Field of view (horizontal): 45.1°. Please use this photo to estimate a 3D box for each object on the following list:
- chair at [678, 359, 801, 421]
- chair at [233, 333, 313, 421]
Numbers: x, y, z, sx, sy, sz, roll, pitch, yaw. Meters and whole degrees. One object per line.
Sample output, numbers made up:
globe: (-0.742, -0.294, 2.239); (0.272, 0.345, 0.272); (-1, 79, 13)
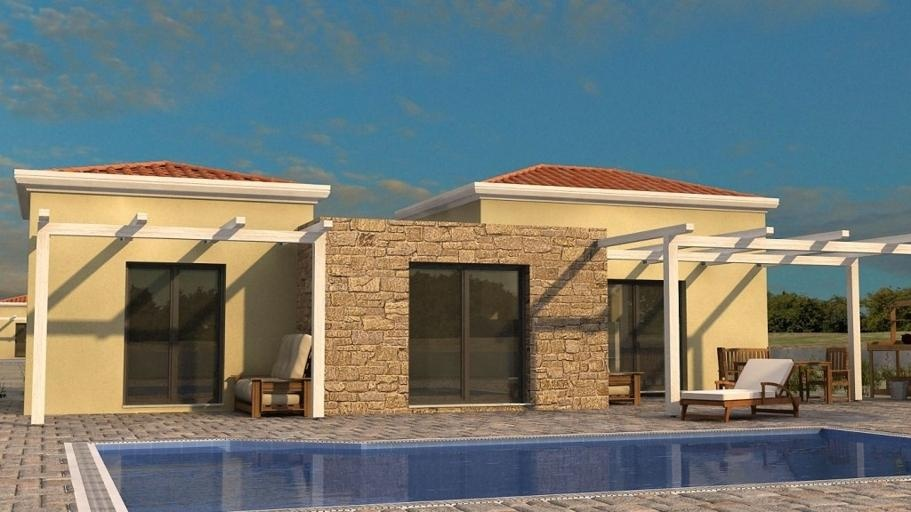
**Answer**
chair: (10.750, 4.961, 41.623); (4.200, 1.994, 2.406); (1, -3, -36)
chair: (-7.023, 4.647, 42.398); (2.914, 3.119, 2.146); (4, -9, -27)
